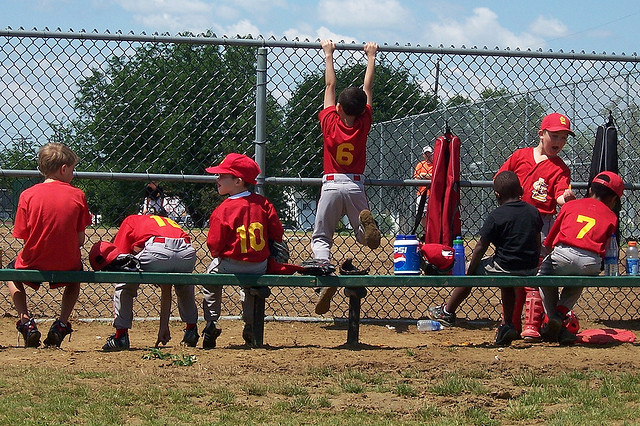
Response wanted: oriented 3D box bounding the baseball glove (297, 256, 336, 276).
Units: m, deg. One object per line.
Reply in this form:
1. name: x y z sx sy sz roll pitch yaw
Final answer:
1. baseball glove: -0.031 0.539 9.709 0.327 0.156 0.165 2 -39 10

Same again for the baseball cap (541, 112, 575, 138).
1. baseball cap: 2.592 -0.980 10.378 0.358 0.250 0.268 2 7 12

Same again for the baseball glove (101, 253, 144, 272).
1. baseball glove: -1.961 0.507 9.487 0.194 0.091 0.313 3 6 43

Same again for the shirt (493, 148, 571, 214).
1. shirt: 2.335 -0.349 10.527 0.897 0.917 0.361 -5 22 12

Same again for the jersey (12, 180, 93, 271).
1. jersey: -2.724 0.110 9.730 0.784 0.904 0.677 4 -1 -7

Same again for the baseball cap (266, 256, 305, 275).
1. baseball cap: -0.385 0.549 9.806 0.264 0.101 0.186 8 -7 -5

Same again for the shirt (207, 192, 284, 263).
1. shirt: -0.804 0.122 9.882 0.844 0.674 0.534 -8 8 -28

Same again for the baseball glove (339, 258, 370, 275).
1. baseball glove: 0.304 0.579 9.995 0.386 0.191 0.131 -13 -17 38

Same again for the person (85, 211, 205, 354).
1. person: -1.740 0.615 9.972 1.044 1.559 1.301 -19 -24 31

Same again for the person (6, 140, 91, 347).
1. person: -2.766 0.345 9.659 0.827 2.113 0.776 -1 7 -19

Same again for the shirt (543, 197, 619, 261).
1. shirt: 2.752 0.144 10.068 0.790 0.736 0.416 13 8 10

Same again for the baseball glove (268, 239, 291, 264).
1. baseball glove: -0.440 0.390 9.983 0.197 0.252 0.251 16 10 -19

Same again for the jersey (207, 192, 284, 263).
1. jersey: -0.805 0.125 9.877 0.876 0.664 0.541 -10 10 -28

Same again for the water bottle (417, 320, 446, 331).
1. water bottle: 1.240 1.280 10.816 0.231 0.135 0.083 7 -2 1

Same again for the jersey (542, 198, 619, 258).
1. jersey: 2.706 0.243 9.908 0.858 0.859 0.312 -1 -36 1

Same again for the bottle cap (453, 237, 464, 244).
1. bottle cap: 1.458 0.282 10.031 0.068 0.065 0.067 0 -6 1

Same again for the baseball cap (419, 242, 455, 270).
1. baseball cap: 1.234 0.438 9.968 0.312 0.175 0.246 20 9 36

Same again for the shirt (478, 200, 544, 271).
1. shirt: 2.053 0.252 10.079 0.769 0.730 0.519 -1 0 -20
